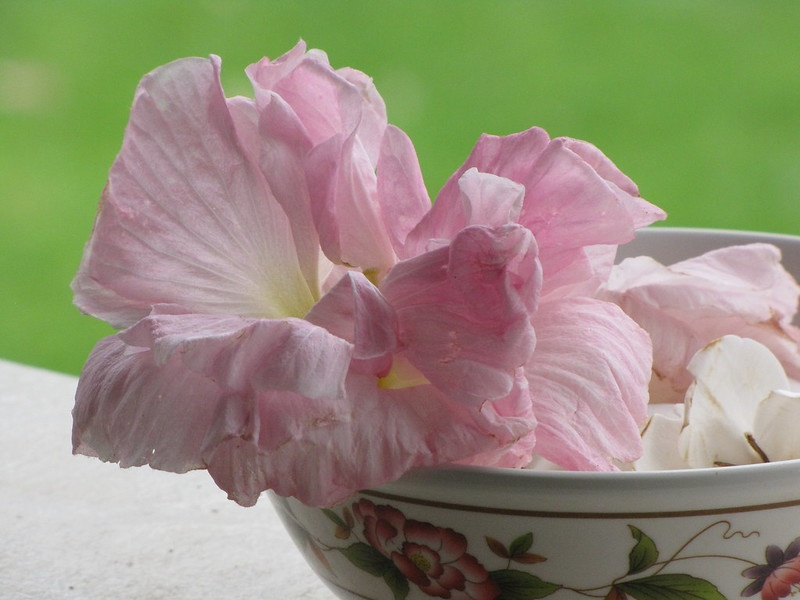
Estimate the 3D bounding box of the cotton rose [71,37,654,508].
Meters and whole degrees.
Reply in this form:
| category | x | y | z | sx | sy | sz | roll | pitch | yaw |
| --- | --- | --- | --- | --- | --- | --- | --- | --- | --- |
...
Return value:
| category | x | y | z | sx | sy | sz | roll | pitch | yaw |
| --- | --- | --- | --- | --- | --- | --- | --- | --- | --- |
| cotton rose | -0.041 | -0.004 | 0.536 | 0.277 | 0.130 | 0.302 | 0 | 5 | 30 |
